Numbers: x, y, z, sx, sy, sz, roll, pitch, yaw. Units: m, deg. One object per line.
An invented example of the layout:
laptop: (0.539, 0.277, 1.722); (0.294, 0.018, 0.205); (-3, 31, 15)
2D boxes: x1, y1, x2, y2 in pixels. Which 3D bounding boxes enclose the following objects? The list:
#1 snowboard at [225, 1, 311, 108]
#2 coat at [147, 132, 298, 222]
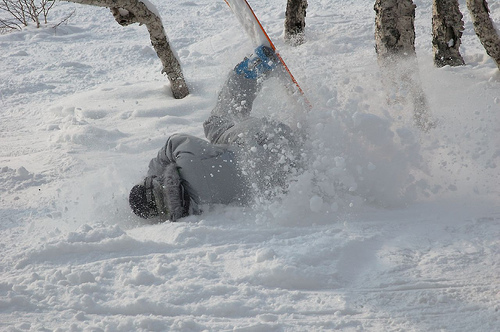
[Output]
snowboard: (0.309, -1.709, 13.082); (0.194, 2.669, 0.319); (-33, 10, -37)
coat: (-0.399, 0.049, 10.940); (1.808, 1.069, 0.638); (-19, 24, 4)
